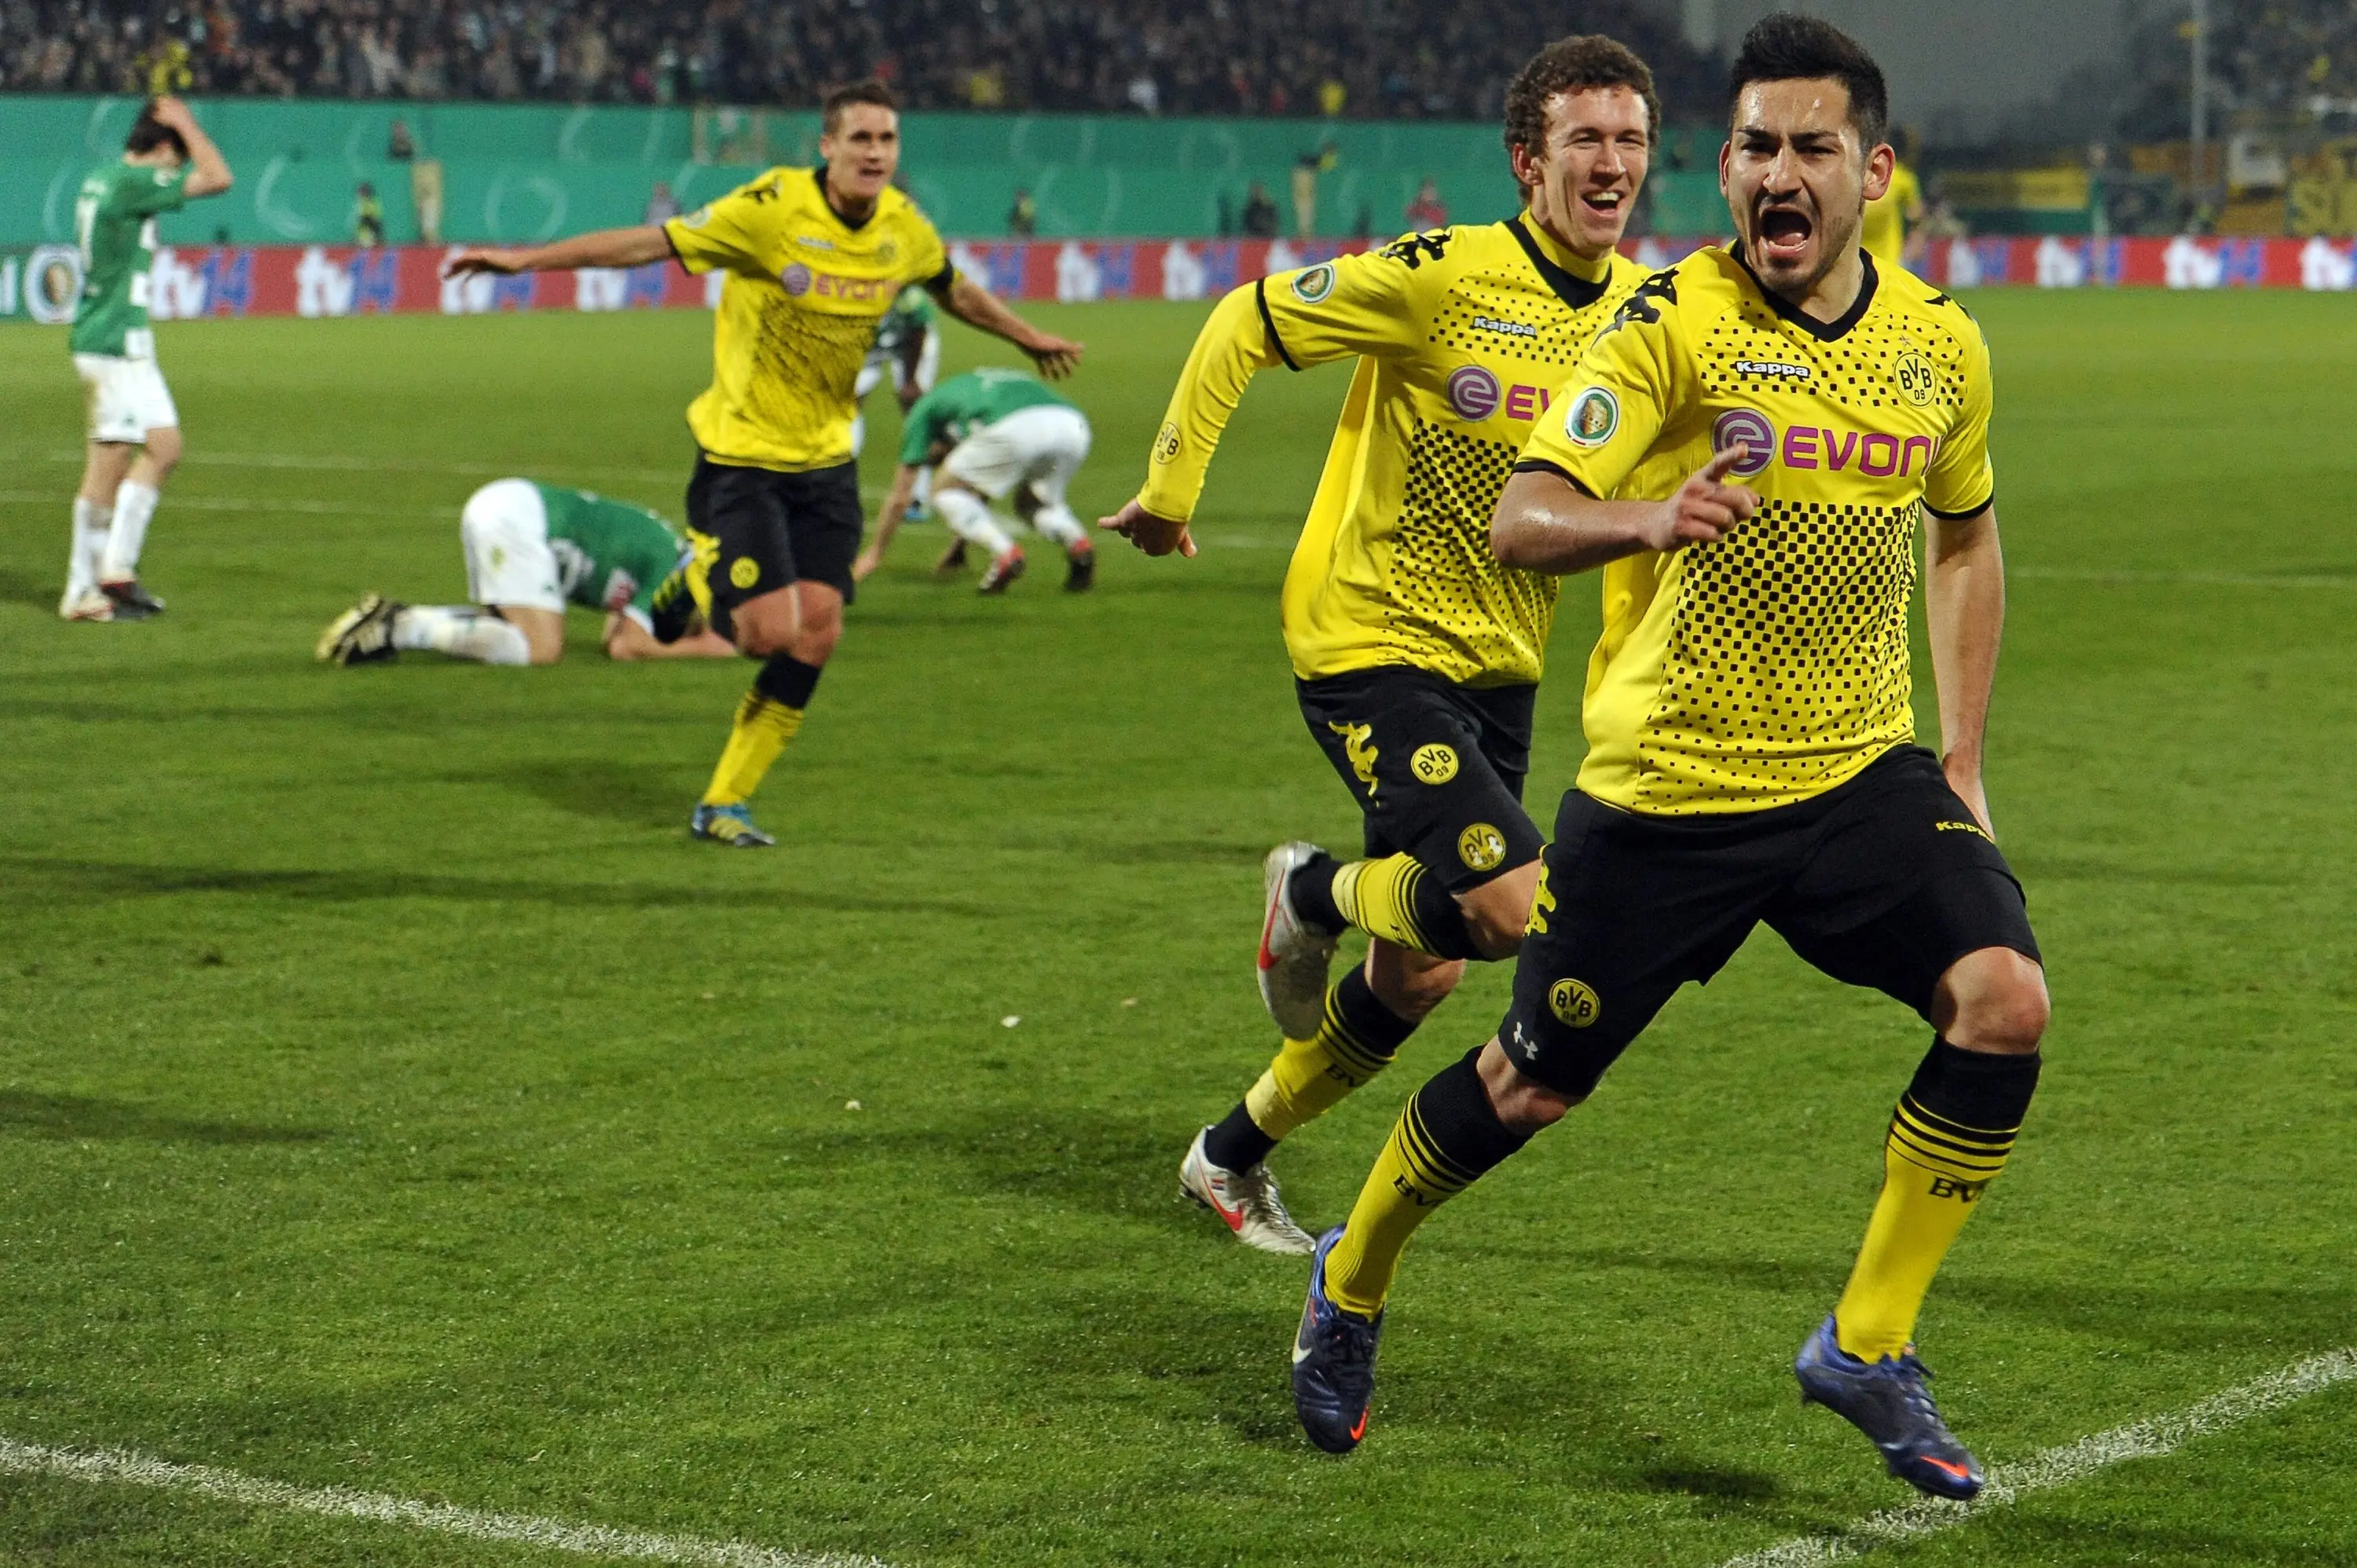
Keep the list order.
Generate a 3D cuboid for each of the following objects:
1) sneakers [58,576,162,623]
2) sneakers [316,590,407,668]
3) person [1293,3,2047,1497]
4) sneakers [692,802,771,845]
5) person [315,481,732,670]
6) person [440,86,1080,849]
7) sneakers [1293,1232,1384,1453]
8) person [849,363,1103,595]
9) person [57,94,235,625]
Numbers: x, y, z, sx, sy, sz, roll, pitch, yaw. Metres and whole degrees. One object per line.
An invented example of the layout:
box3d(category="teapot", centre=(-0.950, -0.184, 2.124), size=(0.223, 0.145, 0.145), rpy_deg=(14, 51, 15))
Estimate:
box3d(category="sneakers", centre=(-4.240, -0.758, 11.397), size=(0.444, 0.148, 0.142), rpy_deg=(-6, 35, -20))
box3d(category="sneakers", centre=(-3.144, -0.604, 11.014), size=(0.230, 0.158, 0.471), rpy_deg=(18, -28, -31))
box3d(category="person", centre=(1.019, -0.068, 5.339), size=(1.236, 2.719, 0.758), rpy_deg=(4, 8, 5))
box3d(category="sneakers", centre=(-1.402, 0.128, 8.937), size=(0.329, 0.114, 0.108), rpy_deg=(8, 14, 9))
box3d(category="person", centre=(-2.547, -0.803, 11.075), size=(0.620, 0.659, 1.818), rpy_deg=(7, 8, 43))
box3d(category="person", centre=(-1.235, -0.980, 8.740), size=(1.234, 2.359, 0.536), rpy_deg=(2, 8, -12))
box3d(category="sneakers", centre=(0.261, 1.084, 5.484), size=(0.150, 0.391, 0.191), rpy_deg=(9, -19, -30))
box3d(category="person", centre=(-0.932, -1.481, 13.535), size=(1.007, 0.924, 1.698), rpy_deg=(-3, 12, -23))
box3d(category="person", centre=(-4.070, -1.672, 11.187), size=(0.580, 2.064, 0.457), rpy_deg=(0, 9, -23))
